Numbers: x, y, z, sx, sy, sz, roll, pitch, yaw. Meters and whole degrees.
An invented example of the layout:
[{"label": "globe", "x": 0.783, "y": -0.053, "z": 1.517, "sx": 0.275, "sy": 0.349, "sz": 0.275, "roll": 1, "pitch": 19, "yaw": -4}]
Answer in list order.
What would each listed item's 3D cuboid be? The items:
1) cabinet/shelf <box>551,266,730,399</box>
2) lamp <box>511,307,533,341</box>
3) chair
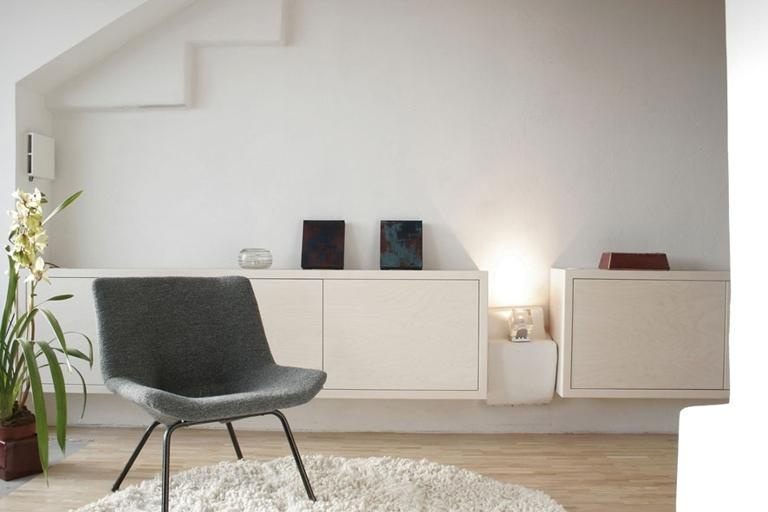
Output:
[{"label": "cabinet/shelf", "x": 1.607, "y": 0.450, "z": 4.094, "sx": 1.325, "sy": 1.020, "sz": 0.688, "roll": 0, "pitch": -1, "yaw": 3}, {"label": "lamp", "x": 0.858, "y": 0.423, "z": 3.902, "sx": 0.137, "sy": 0.188, "sz": 0.107, "roll": 1, "pitch": 9, "yaw": 3}, {"label": "chair", "x": -0.782, "y": 0.609, "z": 3.375, "sx": 1.139, "sy": 1.373, "sz": 1.107, "roll": 3, "pitch": -10, "yaw": -36}]
